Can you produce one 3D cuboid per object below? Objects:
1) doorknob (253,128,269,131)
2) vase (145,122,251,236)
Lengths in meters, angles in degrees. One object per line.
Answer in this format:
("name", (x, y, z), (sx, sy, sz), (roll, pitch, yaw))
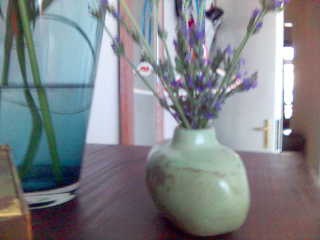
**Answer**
("doorknob", (1.185, 0.113, 2.560), (0.163, 0.043, 0.020), (4, 9, 27))
("vase", (0.048, 0.066, 0.331), (0.102, 0.131, 0.137), (-5, 6, -41))
